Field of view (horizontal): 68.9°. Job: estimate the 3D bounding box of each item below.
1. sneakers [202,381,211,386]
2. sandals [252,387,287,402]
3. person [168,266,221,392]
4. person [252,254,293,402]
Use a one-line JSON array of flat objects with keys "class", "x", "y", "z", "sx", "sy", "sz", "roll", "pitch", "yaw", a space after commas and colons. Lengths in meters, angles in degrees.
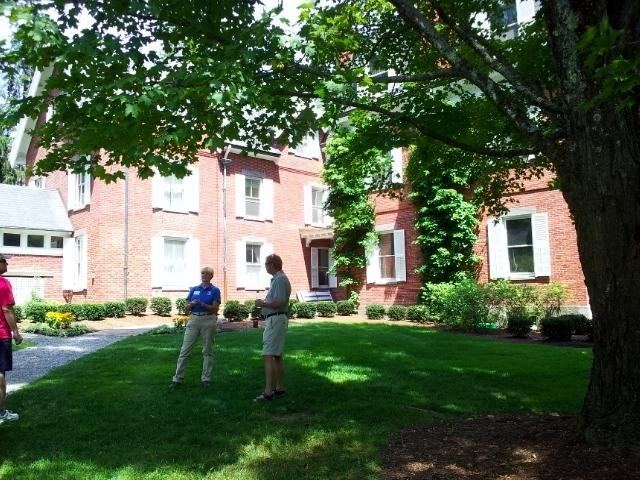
[{"class": "sneakers", "x": -1.841, "y": 2.373, "z": 7.604, "sx": 0.069, "sy": 0.065, "sz": 0.115, "roll": 6, "pitch": -12, "yaw": -39}, {"class": "sandals", "x": -0.741, "y": 2.371, "z": 6.991, "sx": 0.456, "sy": 0.164, "sz": 0.144, "roll": 6, "pitch": -10, "yaw": -21}, {"class": "person", "x": -2.075, "y": 1.456, "z": 7.904, "sx": 0.759, "sy": 1.956, "sz": 0.641, "roll": -1, "pitch": -1, "yaw": -11}, {"class": "person", "x": -0.734, "y": 1.358, "z": 7.309, "sx": 0.538, "sy": 2.253, "sz": 0.933, "roll": -1, "pitch": -1, "yaw": -4}]
